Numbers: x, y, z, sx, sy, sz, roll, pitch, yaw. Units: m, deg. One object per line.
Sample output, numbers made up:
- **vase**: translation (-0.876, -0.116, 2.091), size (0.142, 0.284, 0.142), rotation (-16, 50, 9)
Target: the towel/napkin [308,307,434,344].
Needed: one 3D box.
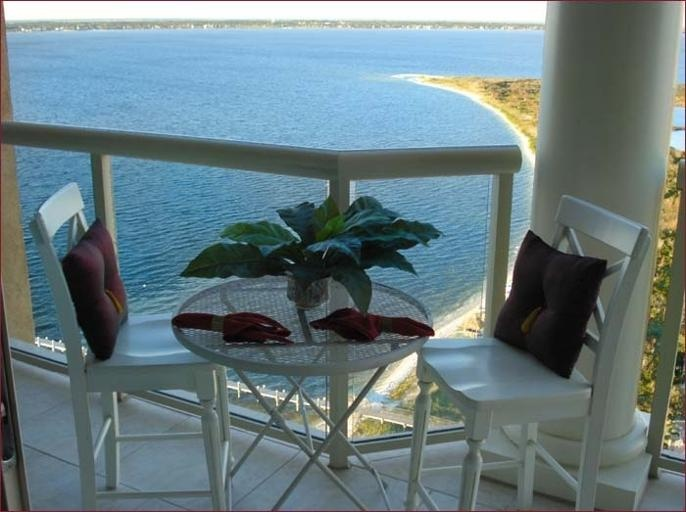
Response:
- **towel/napkin**: translation (0.089, 0.205, 1.661), size (0.354, 0.058, 0.155), rotation (-3, 20, -18)
